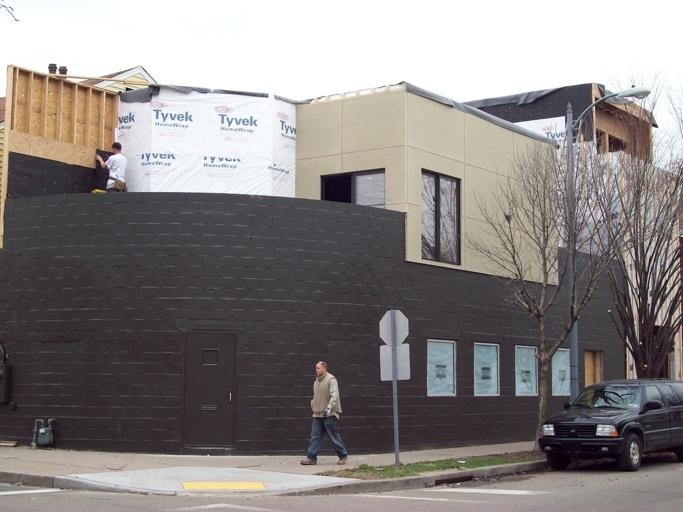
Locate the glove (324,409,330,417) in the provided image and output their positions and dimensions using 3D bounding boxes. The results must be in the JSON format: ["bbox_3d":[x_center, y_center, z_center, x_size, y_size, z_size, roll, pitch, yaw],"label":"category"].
[{"bbox_3d":[-0.324,3.669,25.158,0.137,0.143,0.152,-2,-4,15],"label":"glove"}]

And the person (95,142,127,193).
[{"bbox_3d":[-6.443,-2.421,30.049,0.798,1.394,2.056,0,-1,-16],"label":"person"}]

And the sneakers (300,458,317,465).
[{"bbox_3d":[-0.775,4.856,25.448,0.407,0.190,0.156,5,-6,-2],"label":"sneakers"}]
